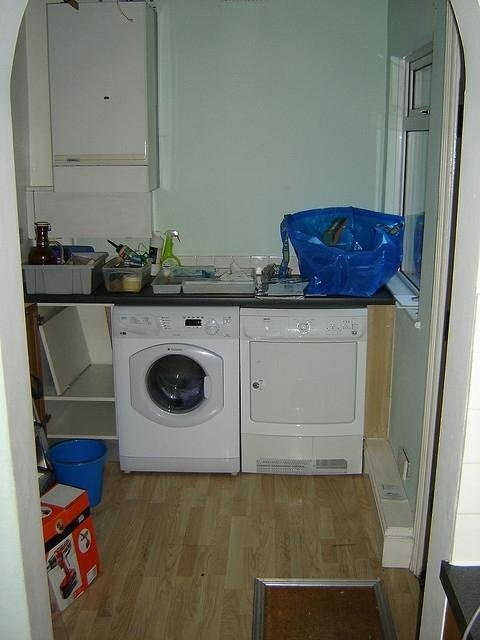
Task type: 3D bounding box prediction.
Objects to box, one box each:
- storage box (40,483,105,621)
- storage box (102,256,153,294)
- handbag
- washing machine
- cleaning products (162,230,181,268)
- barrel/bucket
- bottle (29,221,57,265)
[{"bbox_3d":[-0.693,0.898,1.911,0.168,0.388,0.239,10,24,40],"label":"storage box"},{"bbox_3d":[-0.658,-0.255,2.829,0.260,0.169,0.328,-7,17,-7],"label":"storage box"},{"bbox_3d":[0.598,-0.348,2.812,0.574,0.517,0.644,-1,9,4],"label":"handbag"},{"bbox_3d":[-0.350,0.331,3.052,0.701,1.309,0.773,0,12,1],"label":"washing machine"},{"bbox_3d":[-0.451,-0.462,3.158,0.114,0.266,0.138,-4,34,-10],"label":"cleaning products"},{"bbox_3d":[-0.835,0.731,2.574,0.276,0.358,0.346,-2,11,-7],"label":"barrel/bucket"},{"bbox_3d":[-1.155,-0.400,2.829,0.137,0.318,0.154,1,14,-23],"label":"bottle"}]
